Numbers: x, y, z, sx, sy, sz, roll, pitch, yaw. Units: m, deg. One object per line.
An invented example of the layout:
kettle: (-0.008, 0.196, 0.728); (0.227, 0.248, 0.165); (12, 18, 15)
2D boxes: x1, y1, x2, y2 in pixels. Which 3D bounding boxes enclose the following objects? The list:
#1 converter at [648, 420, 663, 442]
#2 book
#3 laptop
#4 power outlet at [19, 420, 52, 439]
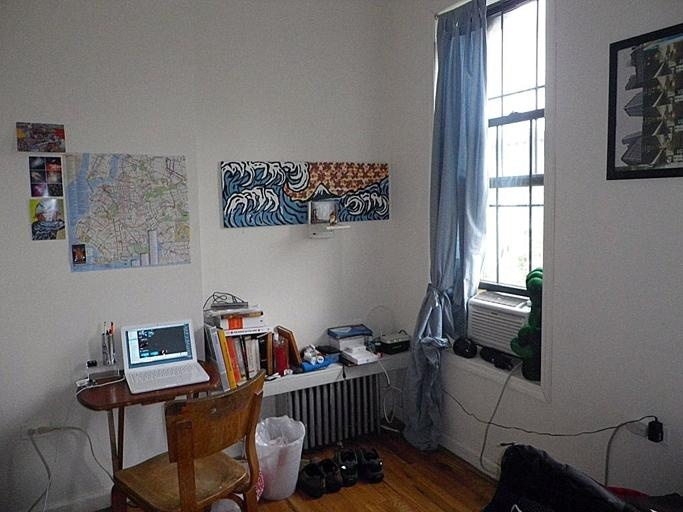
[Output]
converter: (1.597, 0.899, 2.519); (0.067, 0.119, 0.053); (0, 12, 5)
book: (-0.667, 0.505, 3.495); (0.635, 0.690, 0.484); (-2, 3, -37)
laptop: (-1.080, 0.625, 2.963); (0.427, 0.287, 0.399); (-1, 19, -33)
power outlet: (-1.866, 1.049, 2.996); (0.159, 0.113, 0.039); (-1, -3, -29)
